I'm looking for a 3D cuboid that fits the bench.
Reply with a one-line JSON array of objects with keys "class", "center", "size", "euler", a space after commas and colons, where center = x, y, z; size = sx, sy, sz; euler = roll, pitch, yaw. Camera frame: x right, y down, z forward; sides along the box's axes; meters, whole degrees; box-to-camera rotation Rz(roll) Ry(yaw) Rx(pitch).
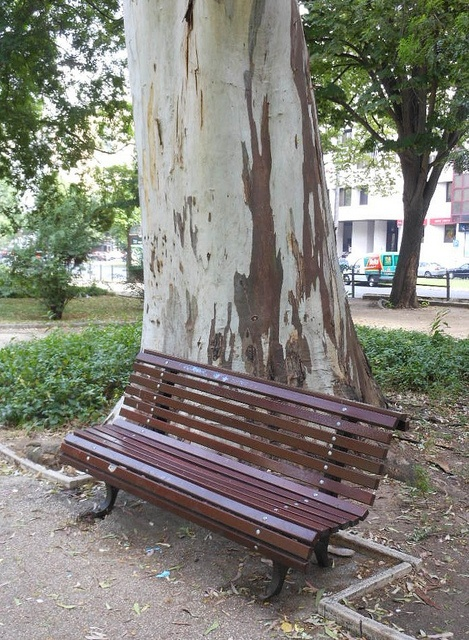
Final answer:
[{"class": "bench", "center": [-0.120, 0.713, 2.867], "size": [1.771, 0.763, 0.684], "euler": [7, 11, 43]}]
